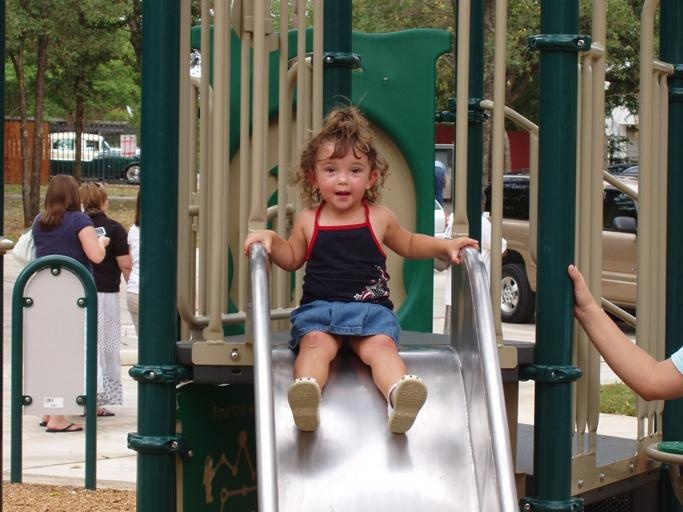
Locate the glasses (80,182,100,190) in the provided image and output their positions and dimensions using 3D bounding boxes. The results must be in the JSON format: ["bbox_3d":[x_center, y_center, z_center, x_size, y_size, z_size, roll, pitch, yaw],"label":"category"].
[{"bbox_3d":[-2.141,-0.593,9.963,0.109,0.070,0.167,-1,0,0],"label":"glasses"}]

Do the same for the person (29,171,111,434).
[{"bbox_3d":[-2.120,0.362,9.160,0.569,2.029,0.546,-2,-1,-16],"label":"person"}]

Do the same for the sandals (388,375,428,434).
[{"bbox_3d":[0.295,0.678,5.461,0.130,0.310,0.121,8,19,-17],"label":"sandals"}]

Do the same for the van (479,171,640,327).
[{"bbox_3d":[2.538,-0.107,14.070,2.249,1.609,1.479,0,1,34],"label":"van"}]

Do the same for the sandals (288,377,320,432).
[{"bbox_3d":[-0.178,0.681,5.422,0.114,0.259,0.097,-1,10,1],"label":"sandals"}]

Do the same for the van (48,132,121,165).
[{"bbox_3d":[-7.420,-3.071,33.128,1.610,0.922,1.122,-1,8,-1],"label":"van"}]

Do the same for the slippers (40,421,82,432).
[{"bbox_3d":[-2.229,1.358,9.173,0.301,0.090,0.131,-1,1,12],"label":"slippers"}]
